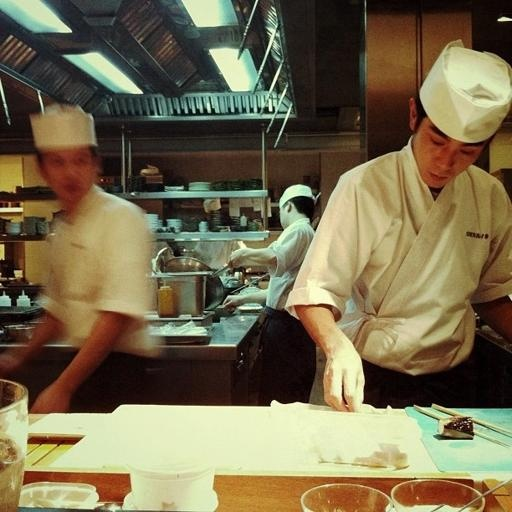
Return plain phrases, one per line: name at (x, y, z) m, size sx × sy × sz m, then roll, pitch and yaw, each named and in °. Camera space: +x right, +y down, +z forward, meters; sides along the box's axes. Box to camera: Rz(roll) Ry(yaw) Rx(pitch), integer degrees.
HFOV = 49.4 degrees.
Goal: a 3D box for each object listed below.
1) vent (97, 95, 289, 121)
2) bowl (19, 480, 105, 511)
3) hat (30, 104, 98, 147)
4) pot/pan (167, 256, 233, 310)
vent at (-0.566, -1.286, 4.833) m, size 2.532 × 0.119 × 0.433 m, roll 3°, pitch 9°, yaw 5°
bowl at (-0.382, 0.459, 1.073) m, size 0.174 × 0.022 × 0.112 m, roll 2°, pitch 3°, yaw 1°
hat at (-0.712, -0.470, 2.065) m, size 0.224 × 0.183 × 0.283 m, roll 0°, pitch 11°, yaw 0°
pot/pan at (-0.345, 0.169, 3.728) m, size 0.625 × 0.287 × 0.645 m, roll 0°, pitch 3°, yaw -4°
